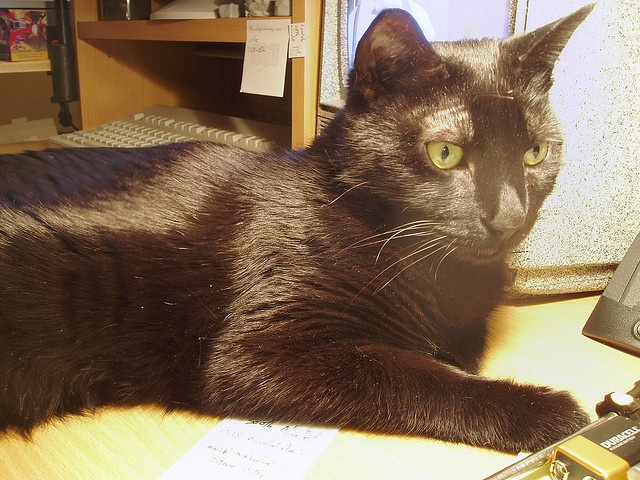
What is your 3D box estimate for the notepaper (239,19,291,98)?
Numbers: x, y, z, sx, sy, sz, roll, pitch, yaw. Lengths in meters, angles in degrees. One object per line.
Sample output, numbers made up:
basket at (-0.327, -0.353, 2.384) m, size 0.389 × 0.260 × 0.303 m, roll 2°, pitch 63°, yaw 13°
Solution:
notepaper at (-0.093, -0.316, 0.973) m, size 0.150 × 0.144 × 0.009 m, roll 12°, pitch 12°, yaw 41°
